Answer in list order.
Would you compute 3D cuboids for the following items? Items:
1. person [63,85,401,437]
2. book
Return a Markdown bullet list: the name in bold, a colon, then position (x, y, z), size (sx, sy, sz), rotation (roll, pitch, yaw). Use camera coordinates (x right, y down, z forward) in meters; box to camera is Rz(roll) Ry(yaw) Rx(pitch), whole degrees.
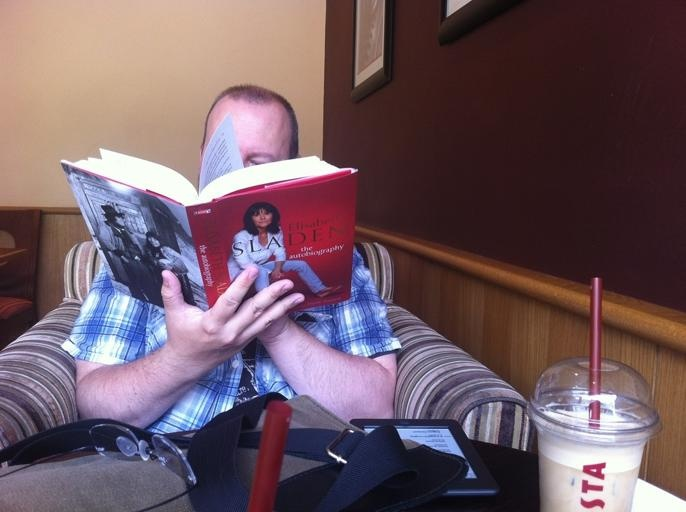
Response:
- **person**: position (-0.245, 0.087, 1.093), size (0.628, 0.819, 0.289), rotation (2, 21, -5)
- **book**: position (-0.191, -0.048, 0.813), size (0.488, 0.293, 0.206), rotation (-2, 40, 3)
